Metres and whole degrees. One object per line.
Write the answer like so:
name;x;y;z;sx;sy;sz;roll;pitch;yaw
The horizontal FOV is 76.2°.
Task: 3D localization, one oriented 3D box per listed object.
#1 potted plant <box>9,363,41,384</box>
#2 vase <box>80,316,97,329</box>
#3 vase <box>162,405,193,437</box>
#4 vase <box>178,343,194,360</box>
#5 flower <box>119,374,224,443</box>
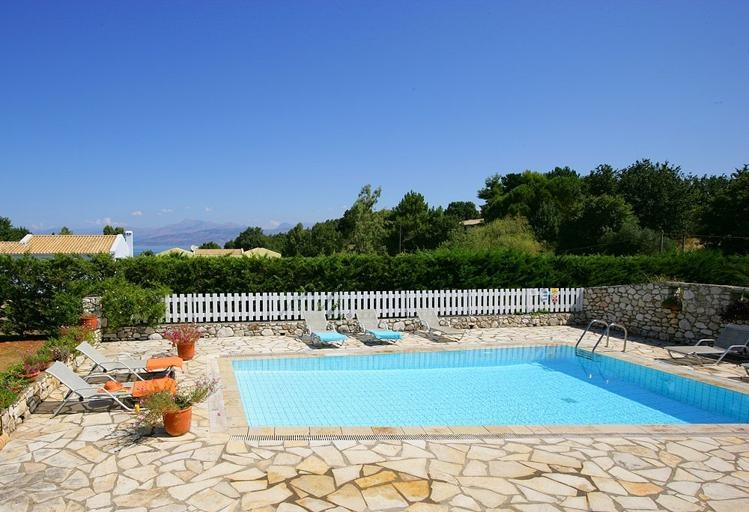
potted plant;-9.103;3.045;12.294;0.570;0.191;0.531;11;8;3
vase;-9.908;2.307;16.533;0.502;0.329;0.485;2;-2;-29
vase;-4.373;3.685;10.653;0.688;0.465;0.662;3;-4;-32
vase;-5.996;3.034;15.176;0.569;0.395;0.539;2;-2;-22
flower;-4.775;3.521;11.147;1.519;0.843;1.471;-1;-7;-24
